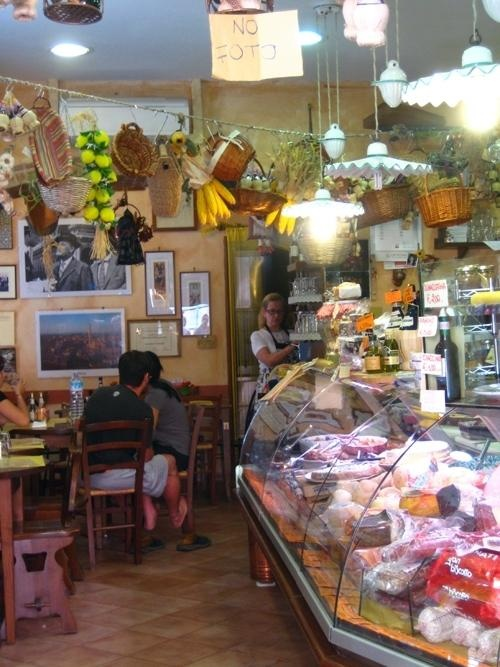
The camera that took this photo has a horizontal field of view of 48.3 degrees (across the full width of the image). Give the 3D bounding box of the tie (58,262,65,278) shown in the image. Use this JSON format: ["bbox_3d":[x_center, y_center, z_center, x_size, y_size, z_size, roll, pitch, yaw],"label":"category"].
[{"bbox_3d":[-2.102,-0.714,6.209,0.089,0.159,0.022,-4,-6,6],"label":"tie"}]

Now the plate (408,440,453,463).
[{"bbox_3d":[0.454,0.293,1.409,0.081,0.024,0.079,-2,0,-21],"label":"plate"}]

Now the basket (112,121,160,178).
[{"bbox_3d":[-0.569,-0.929,2.723,0.087,0.262,0.232,-9,-2,42],"label":"basket"}]

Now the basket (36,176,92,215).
[{"bbox_3d":[-0.917,-0.673,2.780,0.224,0.136,0.214,-1,1,-10],"label":"basket"}]

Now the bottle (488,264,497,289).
[{"bbox_3d":[0.759,-0.176,1.740,0.019,0.076,0.049,-8,-7,34],"label":"bottle"}]

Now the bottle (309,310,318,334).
[{"bbox_3d":[0.582,-0.104,5.035,0.056,0.201,0.216,-4,-5,6],"label":"bottle"}]

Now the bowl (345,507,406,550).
[{"bbox_3d":[0.296,0.445,1.271,0.085,0.027,0.087,-9,16,3],"label":"bowl"}]

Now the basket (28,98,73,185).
[{"bbox_3d":[-1.026,-0.964,2.817,0.181,0.118,0.589,6,-20,-9],"label":"basket"}]

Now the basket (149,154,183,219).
[{"bbox_3d":[-0.479,-0.833,3.150,0.191,0.287,0.328,-3,-5,-7],"label":"basket"}]

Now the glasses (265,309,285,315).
[{"bbox_3d":[0.257,-0.226,5.693,0.171,0.065,0.087,-3,-5,-3],"label":"glasses"}]

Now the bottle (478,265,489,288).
[{"bbox_3d":[0.741,-0.178,1.749,0.038,0.081,0.045,-6,-6,22],"label":"bottle"}]

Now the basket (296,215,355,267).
[{"bbox_3d":[0.499,-0.533,3.420,0.358,0.254,0.390,-3,6,-32],"label":"basket"}]

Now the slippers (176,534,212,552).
[{"bbox_3d":[-0.403,1.515,4.070,0.245,0.087,0.098,-1,0,-37],"label":"slippers"}]

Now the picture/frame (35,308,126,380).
[{"bbox_3d":[-1.915,0.135,6.126,0.891,0.585,0.018,-1,-3,-5],"label":"picture/frame"}]

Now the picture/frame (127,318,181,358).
[{"bbox_3d":[-1.045,0.037,6.055,0.500,0.362,0.036,0,3,-1],"label":"picture/frame"}]

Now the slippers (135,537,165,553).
[{"bbox_3d":[-0.719,1.546,4.114,0.107,0.061,0.179,-4,-8,25],"label":"slippers"}]

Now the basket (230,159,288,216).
[{"bbox_3d":[0.040,-0.841,3.354,0.344,0.316,0.344,-4,6,-30],"label":"basket"}]

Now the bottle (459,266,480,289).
[{"bbox_3d":[0.702,-0.181,1.769,0.078,0.066,0.077,-7,12,-19],"label":"bottle"}]

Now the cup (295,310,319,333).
[{"bbox_3d":[0.525,-0.107,5.069,0.207,0.228,0.179,-3,-4,29],"label":"cup"}]

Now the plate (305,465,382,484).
[{"bbox_3d":[0.322,0.456,1.817,0.135,0.014,0.121,-2,-2,-20],"label":"plate"}]

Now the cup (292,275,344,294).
[{"bbox_3d":[0.574,-0.456,5.196,0.492,0.145,0.348,-1,0,38],"label":"cup"}]

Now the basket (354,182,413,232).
[{"bbox_3d":[0.949,-0.873,3.774,0.324,0.170,0.383,-10,13,22],"label":"basket"}]
